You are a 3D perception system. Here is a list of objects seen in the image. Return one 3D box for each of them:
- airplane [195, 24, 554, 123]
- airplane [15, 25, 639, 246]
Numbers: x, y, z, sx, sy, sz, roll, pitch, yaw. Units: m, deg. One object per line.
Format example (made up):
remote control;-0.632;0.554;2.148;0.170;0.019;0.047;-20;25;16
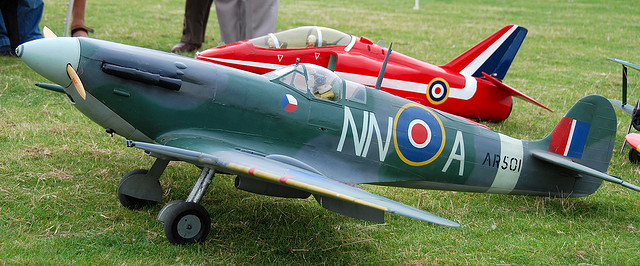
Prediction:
airplane;1.753;-2.235;21.084;12.488;2.737;11.928;1;7;7
airplane;-0.178;-0.234;18.060;13.425;3.401;11.588;7;8;-18
